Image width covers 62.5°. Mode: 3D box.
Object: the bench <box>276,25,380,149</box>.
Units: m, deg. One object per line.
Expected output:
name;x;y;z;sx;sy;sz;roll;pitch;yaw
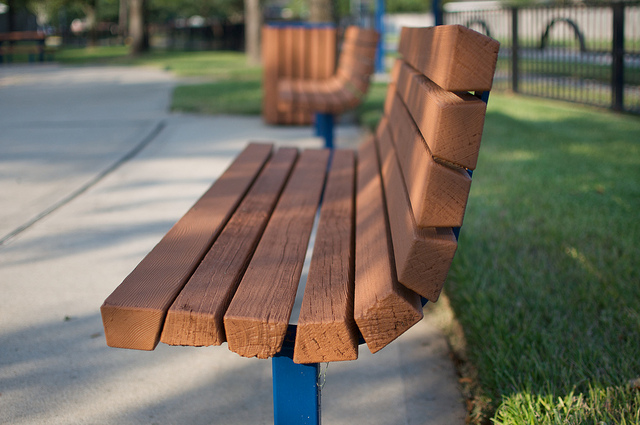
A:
bench;0.069;-0.983;4.254;0.879;1.082;0.571;7;-9;41

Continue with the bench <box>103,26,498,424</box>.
bench;-0.129;0.034;2.367;0.895;1.252;1.823;5;18;4
